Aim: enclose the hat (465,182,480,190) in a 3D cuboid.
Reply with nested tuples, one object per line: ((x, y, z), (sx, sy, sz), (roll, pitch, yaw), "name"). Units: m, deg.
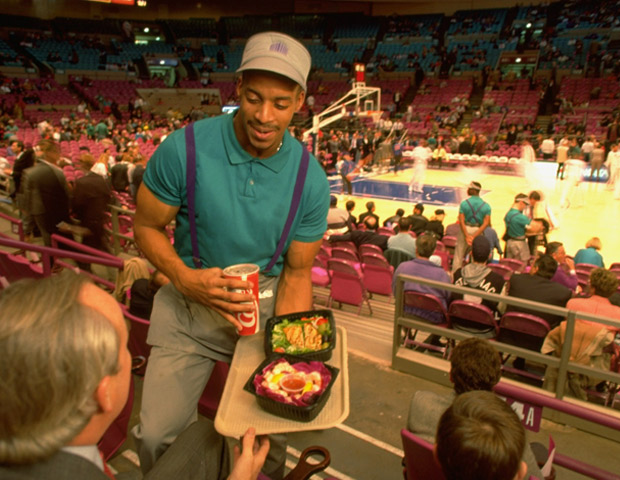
((3.490, -1.129, 8.923), (0.217, 0.197, 0.706), (9, 13, 19), "hat")

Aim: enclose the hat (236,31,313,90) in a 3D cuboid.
((-0.150, -0.789, 1.826), (0.302, 0.247, 0.283), (3, 13, -5), "hat")

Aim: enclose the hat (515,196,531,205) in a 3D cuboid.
((4.344, -0.836, 8.649), (0.216, 0.172, 0.282), (-2, -1, 37), "hat")

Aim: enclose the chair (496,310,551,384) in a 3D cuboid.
((2.087, 1.029, 4.111), (0.440, 0.748, 0.550), (16, 46, 32), "chair")

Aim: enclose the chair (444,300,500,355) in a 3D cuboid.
((1.702, 0.786, 4.534), (0.407, 0.677, 0.565), (14, 42, 29), "chair")
